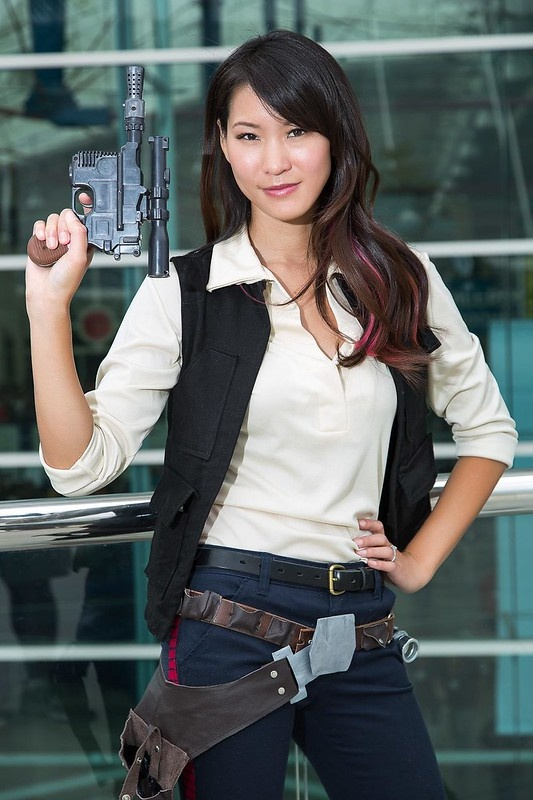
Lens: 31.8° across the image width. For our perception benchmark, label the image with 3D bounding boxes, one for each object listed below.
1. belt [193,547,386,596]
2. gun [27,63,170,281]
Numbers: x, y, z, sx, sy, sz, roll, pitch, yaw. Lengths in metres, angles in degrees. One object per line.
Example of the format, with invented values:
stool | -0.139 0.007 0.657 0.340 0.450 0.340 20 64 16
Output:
belt | 0.038 0.310 1.703 0.198 0.039 0.138 6 -4 -4
gun | -0.244 -0.406 1.675 0.162 0.380 0.210 3 17 22
